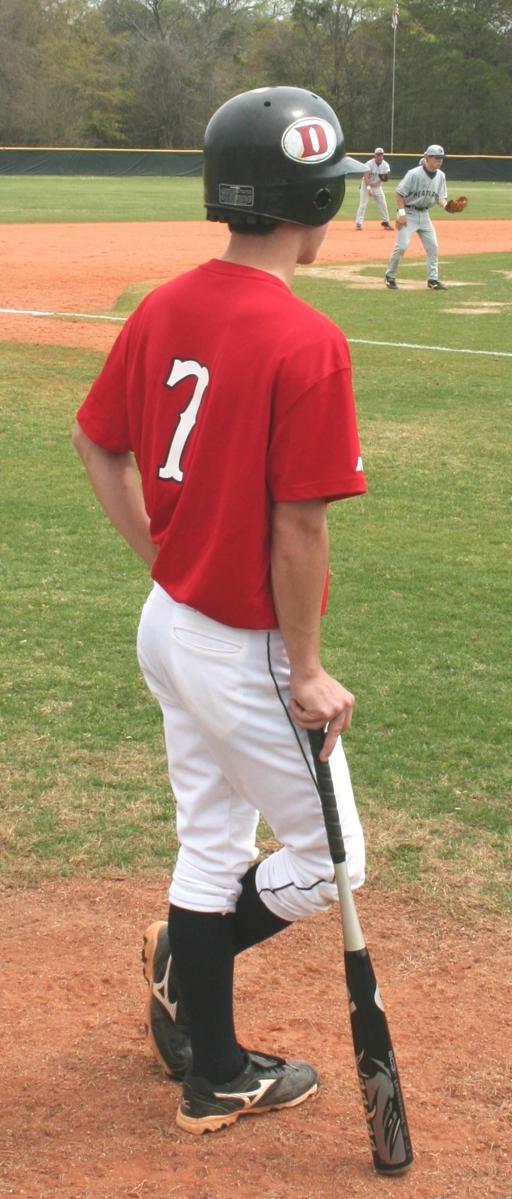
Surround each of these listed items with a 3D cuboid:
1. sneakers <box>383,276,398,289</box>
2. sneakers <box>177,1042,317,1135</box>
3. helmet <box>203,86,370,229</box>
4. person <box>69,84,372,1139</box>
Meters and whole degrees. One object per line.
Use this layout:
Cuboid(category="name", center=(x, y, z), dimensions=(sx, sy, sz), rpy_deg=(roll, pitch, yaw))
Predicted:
Cuboid(category="sneakers", center=(1.726, -4.035, 13.656), dimensions=(0.099, 0.145, 0.300), rpy_deg=(5, 33, -9))
Cuboid(category="sneakers", center=(-0.014, 0.950, 2.127), dimensions=(0.276, 0.134, 0.109), rpy_deg=(-10, 14, -26))
Cuboid(category="helmet", center=(0.054, -0.769, 1.954), dimensions=(0.199, 0.234, 0.276), rpy_deg=(5, 6, 44))
Cuboid(category="person", center=(-0.038, 0.045, 2.029), dimensions=(0.323, 1.916, 0.638), rpy_deg=(-6, 14, -37))
